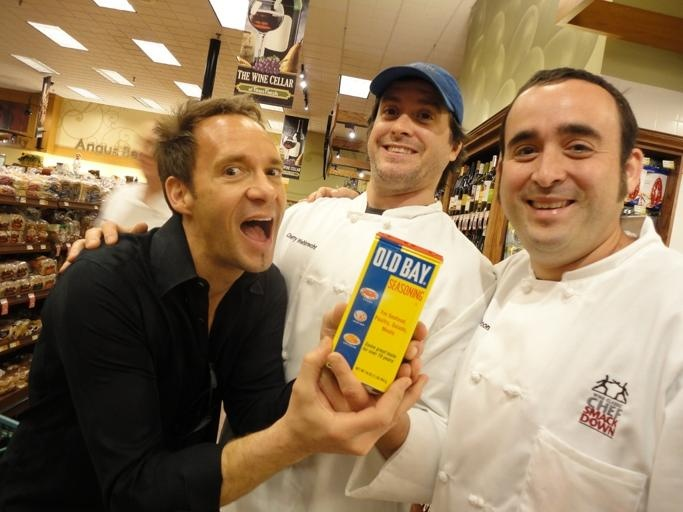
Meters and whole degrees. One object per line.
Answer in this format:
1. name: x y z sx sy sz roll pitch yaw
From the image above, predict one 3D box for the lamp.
1. lamp: -0.226 -3.564 10.153 1.088 3.865 1.275 0 48 -1
